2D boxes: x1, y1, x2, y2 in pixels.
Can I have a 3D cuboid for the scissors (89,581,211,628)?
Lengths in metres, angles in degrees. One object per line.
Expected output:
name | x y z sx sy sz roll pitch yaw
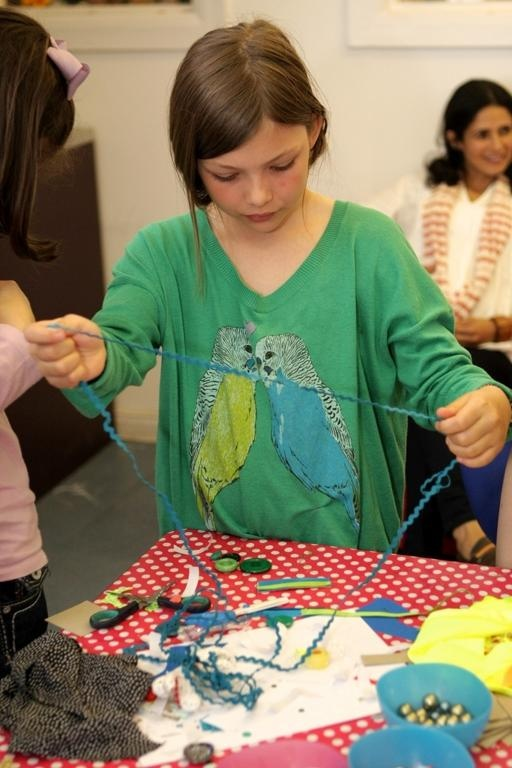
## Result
scissors | -0.131 0.266 0.821 0.146 0.033 0.095 -1 13 -4

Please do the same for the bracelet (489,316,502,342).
bracelet | 0.788 -0.177 2.137 0.022 0.059 0.059 -7 3 0

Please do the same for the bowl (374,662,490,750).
bowl | 0.151 0.256 0.554 0.082 0.049 0.079 -1 20 0
